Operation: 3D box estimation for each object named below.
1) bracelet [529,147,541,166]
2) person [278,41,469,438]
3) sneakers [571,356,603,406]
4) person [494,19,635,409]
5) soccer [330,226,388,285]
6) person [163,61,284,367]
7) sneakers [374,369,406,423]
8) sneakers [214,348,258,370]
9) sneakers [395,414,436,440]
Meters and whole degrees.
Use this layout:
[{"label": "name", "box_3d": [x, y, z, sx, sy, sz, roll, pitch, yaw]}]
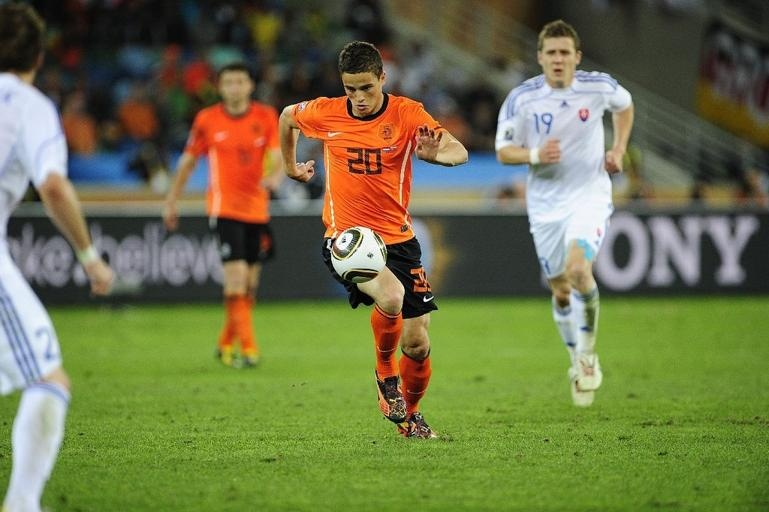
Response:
[{"label": "bracelet", "box_3d": [1.274, -0.826, 8.125, 0.104, 0.119, 0.113, -4, 25, -29]}, {"label": "person", "box_3d": [-0.070, -0.161, 7.762, 1.510, 3.068, 0.619, 5, 9, 37]}, {"label": "sneakers", "box_3d": [1.654, 1.073, 8.090, 0.233, 0.432, 0.182, 3, -16, 1]}, {"label": "person", "box_3d": [1.528, -0.394, 8.299, 1.072, 3.152, 0.937, 2, 7, 14]}, {"label": "soccer", "box_3d": [-0.192, 0.015, 7.697, 0.390, 0.445, 0.398, 1, -6, 10]}, {"label": "person", "box_3d": [-1.479, -0.432, 10.018, 0.965, 3.040, 1.024, -5, 8, -33]}, {"label": "sneakers", "box_3d": [0.037, 1.138, 7.678, 0.141, 0.442, 0.177, -8, -24, -15]}, {"label": "sneakers", "box_3d": [-1.538, 1.058, 9.851, 0.186, 0.248, 0.520, 5, -11, -34]}, {"label": "sneakers", "box_3d": [0.244, 1.345, 7.577, 0.288, 0.162, 0.134, 1, 3, 4]}]
